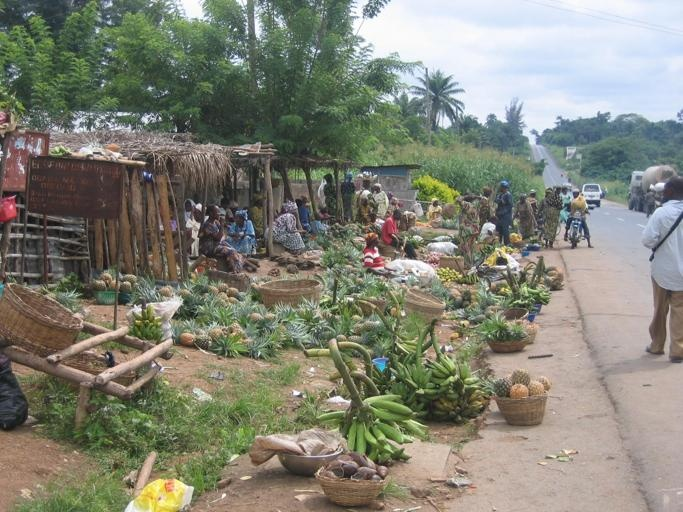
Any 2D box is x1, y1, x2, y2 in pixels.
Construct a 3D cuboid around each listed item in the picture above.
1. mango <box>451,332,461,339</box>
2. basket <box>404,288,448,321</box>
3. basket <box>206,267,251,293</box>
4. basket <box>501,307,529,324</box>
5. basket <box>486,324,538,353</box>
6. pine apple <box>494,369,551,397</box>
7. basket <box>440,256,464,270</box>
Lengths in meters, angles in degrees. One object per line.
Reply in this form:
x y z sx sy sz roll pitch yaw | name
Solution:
1.990 1.408 11.135 0.118 0.061 0.115 0 7 13 | mango
1.469 0.817 11.125 0.608 0.393 0.541 18 8 5 | basket
-2.117 0.434 12.000 0.600 0.210 0.466 6 4 17 | basket
3.019 1.019 10.992 0.407 0.188 0.393 4 8 13 | basket
2.765 1.326 10.131 0.874 0.407 0.458 -5 10 -41 | basket
2.173 1.547 7.553 0.498 0.226 0.364 -1 0 -14 | pine apple
2.725 0.277 15.660 0.579 0.374 0.335 0 -2 27 | basket
